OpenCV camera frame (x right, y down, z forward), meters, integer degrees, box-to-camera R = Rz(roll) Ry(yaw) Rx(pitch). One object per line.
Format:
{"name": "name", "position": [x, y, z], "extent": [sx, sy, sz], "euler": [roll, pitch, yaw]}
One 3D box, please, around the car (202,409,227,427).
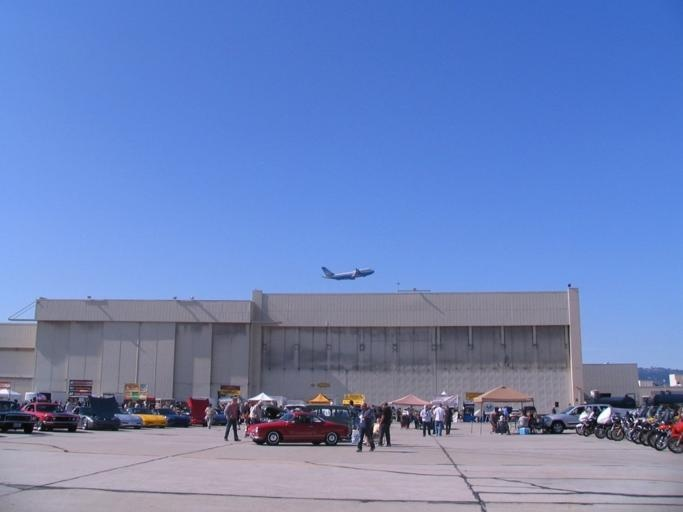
{"name": "car", "position": [-7.713, 10.296, 50.455], "extent": [1.217, 0.841, 1.995], "euler": [3, -5, -18]}

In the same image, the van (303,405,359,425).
{"name": "van", "position": [-0.236, 7.991, 40.492], "extent": [1.916, 0.940, 1.021], "euler": [-2, -5, 1]}

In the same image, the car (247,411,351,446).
{"name": "car", "position": [-1.649, 7.358, 33.586], "extent": [3.764, 1.215, 1.606], "euler": [5, -19, -6]}

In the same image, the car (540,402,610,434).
{"name": "car", "position": [13.435, 9.341, 45.833], "extent": [3.817, 1.643, 1.879], "euler": [0, -11, 8]}
